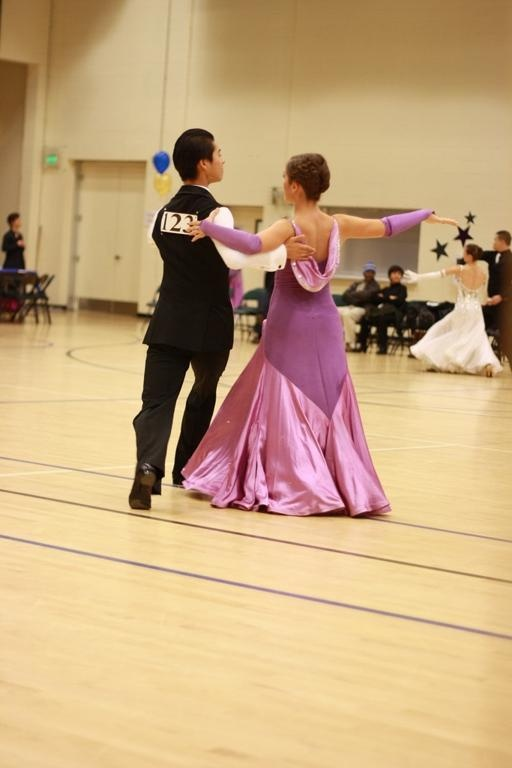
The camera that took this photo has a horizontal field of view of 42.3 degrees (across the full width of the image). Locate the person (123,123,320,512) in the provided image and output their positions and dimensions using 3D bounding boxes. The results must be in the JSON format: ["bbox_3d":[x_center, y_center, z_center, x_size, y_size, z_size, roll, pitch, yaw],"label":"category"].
[{"bbox_3d":[-0.273,-0.347,2.802,0.399,1.532,0.683,5,-1,-5],"label":"person"}]

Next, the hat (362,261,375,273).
[{"bbox_3d":[2.124,-2.181,12.480,0.201,0.203,0.326,2,-2,6],"label":"hat"}]

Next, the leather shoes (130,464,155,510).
[{"bbox_3d":[-0.432,0.391,2.539,0.079,0.202,0.093,2,32,-8],"label":"leather shoes"}]

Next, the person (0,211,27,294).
[{"bbox_3d":[-4.690,-2.605,12.819,0.416,1.665,1.534,5,-1,-20],"label":"person"}]
